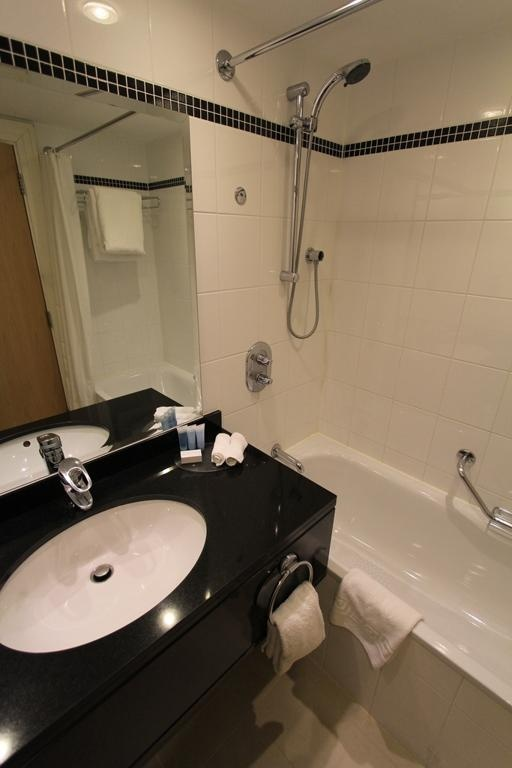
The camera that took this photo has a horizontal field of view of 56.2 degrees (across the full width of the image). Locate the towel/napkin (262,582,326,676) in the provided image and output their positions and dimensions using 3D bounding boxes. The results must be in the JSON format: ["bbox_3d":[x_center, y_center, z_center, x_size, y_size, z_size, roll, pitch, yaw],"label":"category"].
[{"bbox_3d":[0.098,0.612,1.199,0.163,0.177,0.086,-18,29,-33],"label":"towel/napkin"}]

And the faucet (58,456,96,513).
[{"bbox_3d":[-0.431,0.237,1.142,0.069,0.077,0.137,-20,69,-38],"label":"faucet"}]

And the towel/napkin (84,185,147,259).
[{"bbox_3d":[-0.372,-0.417,1.254,0.044,0.175,0.148,6,18,32],"label":"towel/napkin"}]

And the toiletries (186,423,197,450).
[{"bbox_3d":[-0.197,0.162,1.445,0.040,0.098,0.026,-7,25,-22],"label":"toiletries"}]

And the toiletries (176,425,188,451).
[{"bbox_3d":[-0.230,0.164,1.447,0.051,0.069,0.029,15,27,31],"label":"toiletries"}]

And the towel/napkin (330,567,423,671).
[{"bbox_3d":[0.330,0.657,1.350,0.239,0.216,0.113,16,28,32],"label":"towel/napkin"}]
